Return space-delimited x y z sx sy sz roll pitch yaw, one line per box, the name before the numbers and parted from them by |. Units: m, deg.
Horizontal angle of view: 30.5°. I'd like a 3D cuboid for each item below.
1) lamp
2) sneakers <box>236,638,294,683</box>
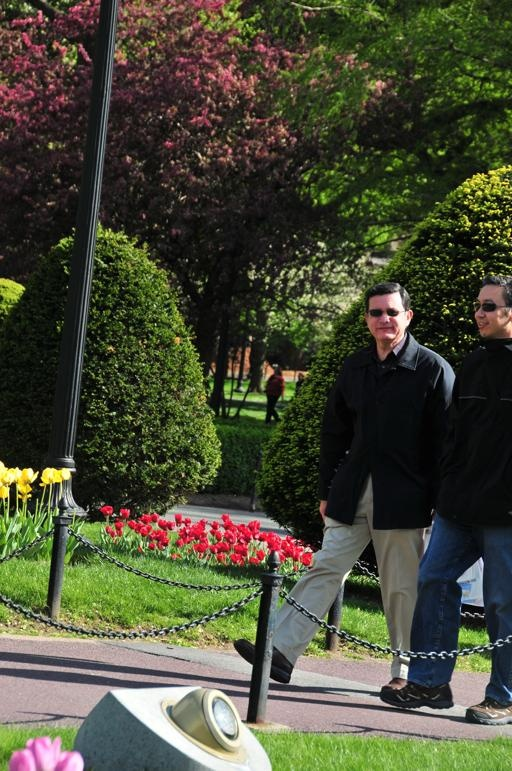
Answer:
lamp | -0.150 1.093 3.030 0.231 0.077 0.208 24 20 -1
sneakers | 0.037 1.347 4.615 0.240 0.205 0.276 4 0 -20
